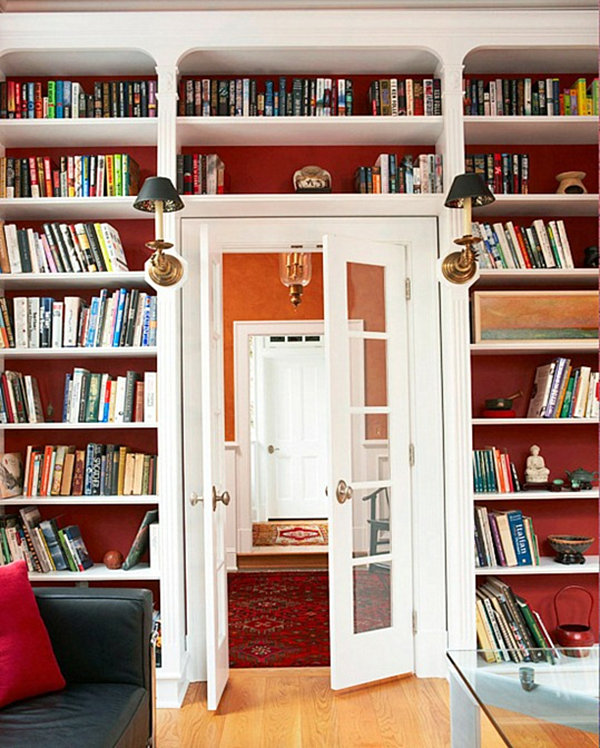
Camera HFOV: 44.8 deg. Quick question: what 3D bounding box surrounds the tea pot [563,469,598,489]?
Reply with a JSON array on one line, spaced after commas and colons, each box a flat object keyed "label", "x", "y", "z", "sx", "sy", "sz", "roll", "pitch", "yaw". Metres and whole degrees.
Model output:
[{"label": "tea pot", "x": 1.344, "y": 0.506, "z": 3.522, "sx": 0.123, "sy": 0.077, "sz": 0.067, "roll": -1, "pitch": -3, "yaw": 4}]

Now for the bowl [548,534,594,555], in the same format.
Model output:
[{"label": "bowl", "x": 1.266, "y": 0.808, "z": 3.429, "sx": 0.140, "sy": 0.070, "sz": 0.171, "roll": -1, "pitch": -3, "yaw": -5}]

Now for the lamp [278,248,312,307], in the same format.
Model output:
[{"label": "lamp", "x": -0.031, "y": -0.662, "z": 5.079, "sx": 0.257, "sy": 0.376, "sz": 0.241, "roll": 1, "pitch": -10, "yaw": -2}]

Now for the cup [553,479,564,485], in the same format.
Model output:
[{"label": "cup", "x": 1.237, "y": 0.517, "z": 3.488, "sx": 0.044, "sy": 0.031, "sz": 0.046, "roll": 1, "pitch": -3, "yaw": 0}]
